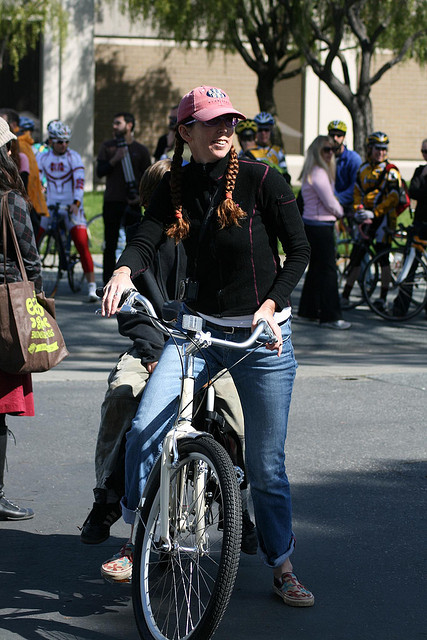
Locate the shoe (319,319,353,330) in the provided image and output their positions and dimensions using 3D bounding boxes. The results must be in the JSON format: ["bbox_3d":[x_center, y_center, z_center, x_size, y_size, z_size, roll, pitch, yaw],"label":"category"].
[{"bbox_3d":[1.375,0.059,9.339,0.349,0.165,0.130,-3,2,13],"label":"shoe"}]

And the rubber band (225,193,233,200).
[{"bbox_3d":[0.050,-0.395,2.665,0.018,0.014,0.018,4,4,25],"label":"rubber band"}]

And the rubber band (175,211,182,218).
[{"bbox_3d":[-0.115,-0.352,2.799,0.021,0.021,0.022,0,9,-7],"label":"rubber band"}]

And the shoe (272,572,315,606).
[{"bbox_3d":[0.286,0.952,2.968,0.072,0.073,0.171,-1,1,-31],"label":"shoe"}]

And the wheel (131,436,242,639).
[{"bbox_3d":[-0.102,0.683,2.699,0.310,0.717,0.941,1,9,-4],"label":"wheel"}]

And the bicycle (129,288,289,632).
[{"bbox_3d":[-0.043,0.483,2.733,0.444,1.178,1.064,0,9,-6],"label":"bicycle"}]

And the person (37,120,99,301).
[{"bbox_3d":[-1.964,-1.409,10.632,1.079,2.049,1.001,16,23,36],"label":"person"}]

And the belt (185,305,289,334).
[{"bbox_3d":[0.076,0.004,2.832,0.356,0.082,0.140,2,9,7],"label":"belt"}]

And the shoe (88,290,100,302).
[{"bbox_3d":[-1.557,-0.313,10.858,0.105,0.146,0.274,0,9,-8],"label":"shoe"}]

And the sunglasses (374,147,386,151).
[{"bbox_3d":[2.049,-2.082,10.206,0.143,0.037,0.061,-3,10,-25],"label":"sunglasses"}]

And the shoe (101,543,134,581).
[{"bbox_3d":[-0.356,0.894,3.081,0.114,0.098,0.154,0,9,-7],"label":"shoe"}]

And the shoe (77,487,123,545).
[{"bbox_3d":[-0.447,0.785,3.382,0.098,0.129,0.300,6,24,20],"label":"shoe"}]

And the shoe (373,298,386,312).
[{"bbox_3d":[1.993,-0.172,10.028,0.117,0.158,0.143,-4,-20,4],"label":"shoe"}]

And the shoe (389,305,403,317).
[{"bbox_3d":[2.177,-0.098,9.962,0.128,0.142,0.237,2,9,-15],"label":"shoe"}]
